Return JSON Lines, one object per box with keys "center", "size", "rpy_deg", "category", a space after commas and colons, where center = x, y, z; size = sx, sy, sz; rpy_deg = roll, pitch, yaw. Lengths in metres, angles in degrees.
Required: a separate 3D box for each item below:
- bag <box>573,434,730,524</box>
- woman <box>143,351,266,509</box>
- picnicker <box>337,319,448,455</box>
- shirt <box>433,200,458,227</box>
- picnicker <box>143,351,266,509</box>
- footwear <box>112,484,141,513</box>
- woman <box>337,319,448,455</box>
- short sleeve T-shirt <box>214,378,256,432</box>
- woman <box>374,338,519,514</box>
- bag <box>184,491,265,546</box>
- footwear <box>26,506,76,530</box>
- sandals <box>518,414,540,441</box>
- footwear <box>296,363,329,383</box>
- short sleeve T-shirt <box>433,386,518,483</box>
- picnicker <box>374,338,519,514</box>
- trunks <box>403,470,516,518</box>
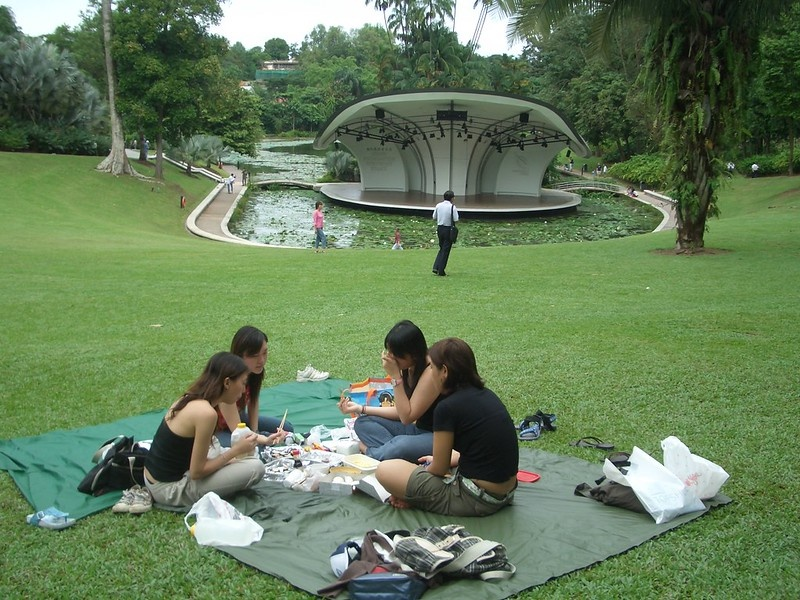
{"center": [1.965, 1.274, 4.778], "size": [0.779, 0.308, 0.753], "rpy_deg": [-14, 10, -32], "category": "bag"}
{"center": [-1.502, 1.091, 5.100], "size": [0.979, 1.236, 0.985], "rpy_deg": [13, 13, 25], "category": "woman"}
{"center": [-0.024, 0.872, 5.502], "size": [0.852, 1.269, 0.962], "rpy_deg": [0, 1, -42], "category": "picnicker"}
{"center": [1.005, -1.886, 12.735], "size": [0.459, 0.567, 0.532], "rpy_deg": [6, 10, 2], "category": "shirt"}
{"center": [-1.571, 1.084, 5.135], "size": [0.967, 1.238, 0.916], "rpy_deg": [8, 10, -1], "category": "picnicker"}
{"center": [-2.214, 1.643, 4.840], "size": [0.165, 0.142, 0.201], "rpy_deg": [5, 10, -1], "category": "footwear"}
{"center": [-0.049, 0.870, 5.507], "size": [0.894, 1.266, 0.972], "rpy_deg": [-1, 2, -44], "category": "woman"}
{"center": [-1.492, 0.991, 5.584], "size": [0.401, 0.584, 0.438], "rpy_deg": [2, 5, -20], "category": "short sleeve T-shirt"}
{"center": [0.487, 1.053, 5.013], "size": [1.028, 1.346, 1.384], "rpy_deg": [4, 4, 41], "category": "woman"}
{"center": [-1.332, 1.713, 4.491], "size": [0.464, 0.187, 0.377], "rpy_deg": [8, 8, 21], "category": "bag"}
{"center": [-2.695, 1.709, 4.618], "size": [0.276, 0.116, 0.166], "rpy_deg": [7, 0, 5], "category": "footwear"}
{"center": [1.319, 1.304, 6.013], "size": [0.242, 0.198, 0.292], "rpy_deg": [7, 10, 11], "category": "sandals"}
{"center": [-1.068, 0.910, 7.342], "size": [0.449, 0.213, 0.169], "rpy_deg": [-2, 6, -9], "category": "footwear"}
{"center": [0.574, 1.079, 4.616], "size": [0.744, 0.684, 0.444], "rpy_deg": [-10, 14, -29], "category": "short sleeve T-shirt"}
{"center": [0.481, 1.041, 4.998], "size": [1.355, 1.383, 1.012], "rpy_deg": [-2, 4, -45], "category": "picnicker"}
{"center": [0.415, 1.582, 4.727], "size": [0.482, 0.205, 0.505], "rpy_deg": [1, -3, 16], "category": "trunks"}
